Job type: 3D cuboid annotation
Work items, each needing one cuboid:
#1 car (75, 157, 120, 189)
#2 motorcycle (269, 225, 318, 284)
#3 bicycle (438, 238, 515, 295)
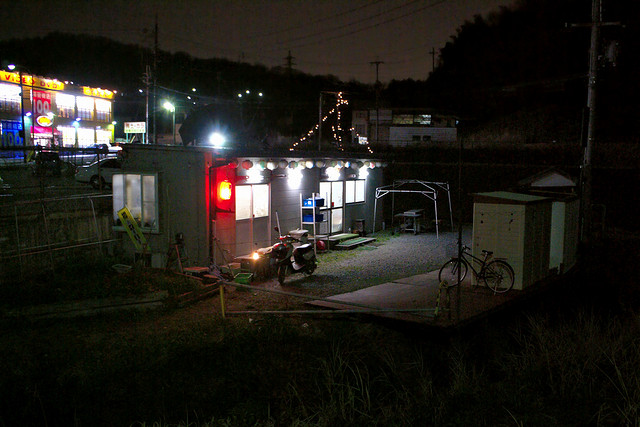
[{"bbox_3d":[-9.393,-1.758,24.529,1.709,1.330,4.033,-4,6,-25],"label":"car"},{"bbox_3d":[-0.743,1.134,17.503,0.938,1.616,2.189,-1,1,30],"label":"motorcycle"},{"bbox_3d":[4.495,1.534,16.308,2.107,1.396,1.139,15,7,29],"label":"bicycle"}]
